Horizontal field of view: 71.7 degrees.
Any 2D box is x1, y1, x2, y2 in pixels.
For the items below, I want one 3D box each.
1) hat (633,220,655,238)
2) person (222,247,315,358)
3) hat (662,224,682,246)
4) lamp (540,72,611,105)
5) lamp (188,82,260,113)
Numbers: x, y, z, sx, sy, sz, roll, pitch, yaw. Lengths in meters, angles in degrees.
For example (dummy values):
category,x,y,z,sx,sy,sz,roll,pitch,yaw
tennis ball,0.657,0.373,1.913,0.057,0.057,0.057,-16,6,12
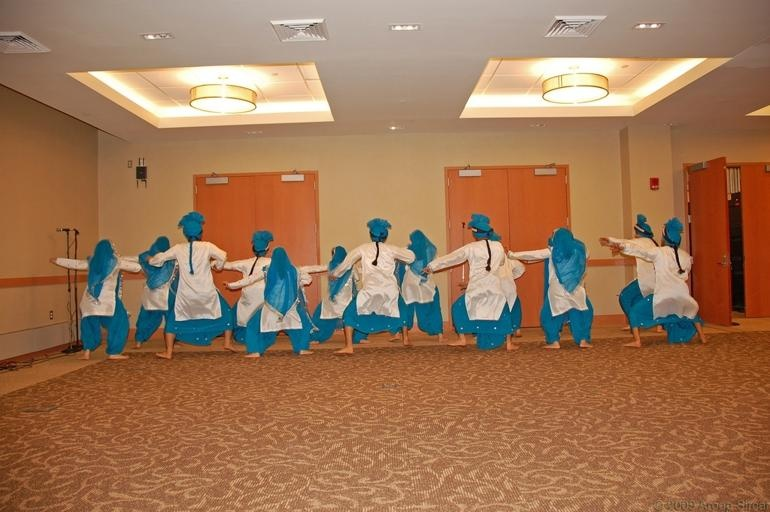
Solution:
category,x,y,z,sx,sy,sz,roll,pitch,yaw
hat,4.214,-0.424,8.703,0.232,0.213,0.305,-7,25,-30
person,-1.832,0.771,8.306,1.625,1.995,0.810,1,10,-3
hat,4.427,-0.328,8.264,0.270,0.340,0.261,4,-2,9
lamp,2.999,-2.681,8.414,0.971,0.415,0.618,-2,11,-9
lamp,-2.612,-2.557,8.596,0.995,0.387,0.692,-4,11,-18
